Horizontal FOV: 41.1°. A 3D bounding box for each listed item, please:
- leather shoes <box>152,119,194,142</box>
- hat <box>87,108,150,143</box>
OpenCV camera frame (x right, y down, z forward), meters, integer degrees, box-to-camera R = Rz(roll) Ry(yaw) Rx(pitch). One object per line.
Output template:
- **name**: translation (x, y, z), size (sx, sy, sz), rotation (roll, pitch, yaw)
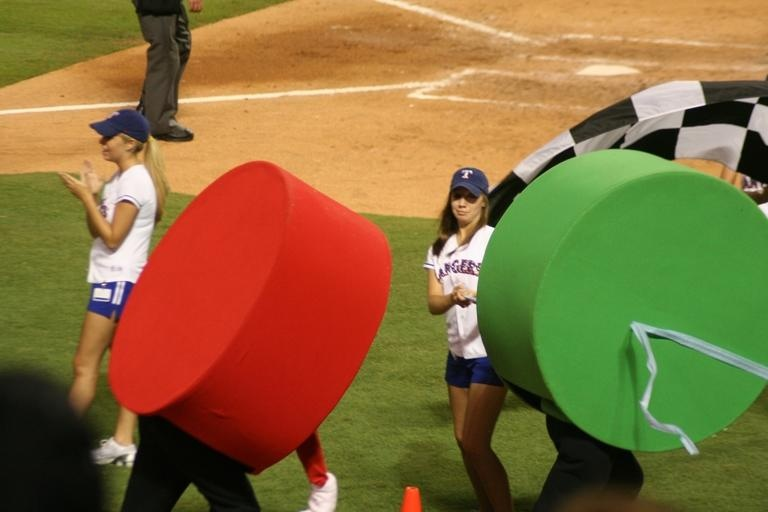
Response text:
- **leather shoes**: translation (-2.592, -1.507, 12.586), size (0.463, 0.189, 0.205), rotation (-4, 44, -2)
- **hat**: translation (-1.628, -0.792, 6.286), size (0.328, 0.154, 0.198), rotation (6, 20, -15)
